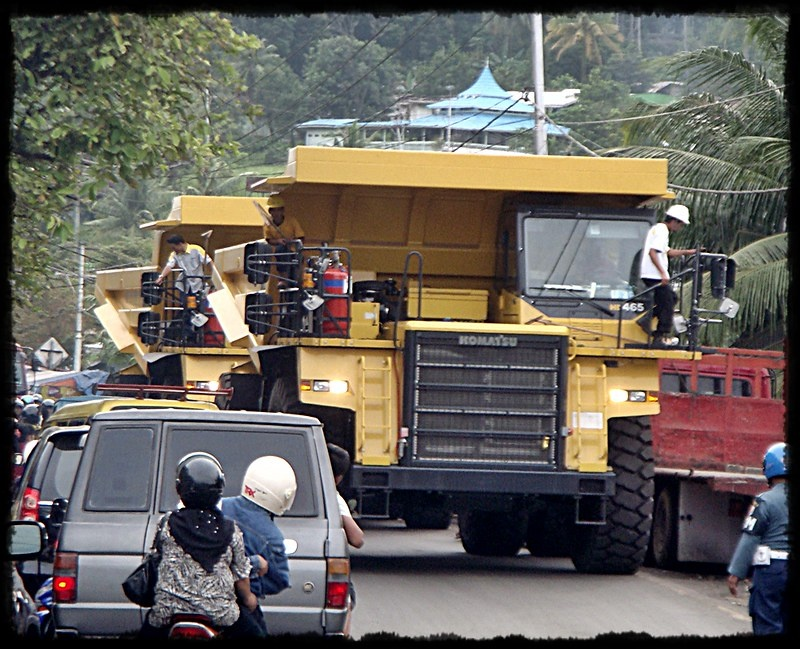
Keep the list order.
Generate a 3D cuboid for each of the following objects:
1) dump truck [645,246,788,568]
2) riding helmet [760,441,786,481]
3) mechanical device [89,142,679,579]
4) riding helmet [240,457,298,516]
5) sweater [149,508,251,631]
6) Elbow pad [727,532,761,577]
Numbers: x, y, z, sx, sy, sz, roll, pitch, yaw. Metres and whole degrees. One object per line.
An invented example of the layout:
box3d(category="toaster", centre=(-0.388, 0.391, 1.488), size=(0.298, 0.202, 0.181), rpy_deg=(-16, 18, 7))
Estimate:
box3d(category="dump truck", centre=(4.149, 1.539, 21.254), size=(2.103, 2.141, 4.121), rpy_deg=(0, 0, -2))
box3d(category="riding helmet", centre=(3.026, 1.100, 13.454), size=(0.210, 0.224, 0.268), rpy_deg=(2, 4, 1))
box3d(category="mechanical device", centre=(1.098, -0.191, 22.711), size=(4.988, 4.416, 9.195), rpy_deg=(2, 7, 2))
box3d(category="riding helmet", centre=(-0.930, 1.145, 11.991), size=(0.535, 0.419, 0.384), rpy_deg=(0, 0, -18))
box3d(category="sweater", centre=(-1.419, 1.676, 11.716), size=(0.760, 0.835, 0.444), rpy_deg=(6, 2, -7))
box3d(category="Elbow pad", centre=(2.761, 1.850, 13.337), size=(0.205, 0.372, 0.143), rpy_deg=(23, -6, 29))
